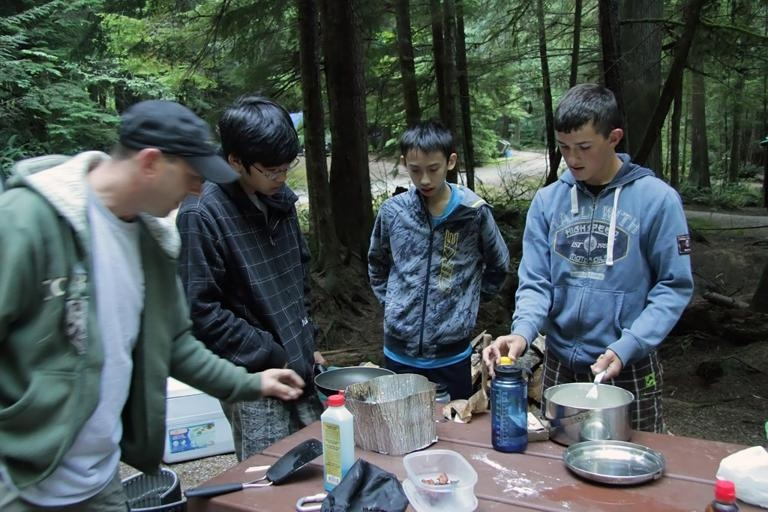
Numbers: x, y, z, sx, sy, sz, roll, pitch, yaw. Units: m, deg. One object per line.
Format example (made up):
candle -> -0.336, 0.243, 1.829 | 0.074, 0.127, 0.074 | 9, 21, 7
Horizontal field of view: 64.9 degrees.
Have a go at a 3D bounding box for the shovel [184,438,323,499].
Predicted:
shovel -> -0.643, 1.088, 3.051 | 0.672, 0.119, 0.175 | -9, 14, -21

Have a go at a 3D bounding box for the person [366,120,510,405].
person -> 0.371, 0.048, 4.543 | 0.947, 1.978, 1.085 | 0, -6, 4

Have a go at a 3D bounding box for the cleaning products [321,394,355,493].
cleaning products -> -0.211, 0.940, 3.030 | 0.180, 0.477, 0.168 | -1, 4, 37

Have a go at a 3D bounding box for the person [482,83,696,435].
person -> 1.266, 0.484, 3.725 | 1.081, 2.891, 1.153 | 1, 12, 21

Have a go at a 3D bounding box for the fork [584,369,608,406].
fork -> 1.136, 0.701, 3.239 | 0.060, 0.205, 0.029 | 21, -11, 19

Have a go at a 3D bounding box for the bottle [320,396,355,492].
bottle -> -0.223, 0.896, 3.020 | 0.149, 0.476, 0.204 | 1, 4, 39

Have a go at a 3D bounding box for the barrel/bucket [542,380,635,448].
barrel/bucket -> 1.073, 0.843, 3.183 | 0.518, 0.240, 0.333 | -6, 13, -41

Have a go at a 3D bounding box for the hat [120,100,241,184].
hat -> -0.994, -0.638, 2.985 | 0.509, 0.453, 0.354 | -1, 21, -4

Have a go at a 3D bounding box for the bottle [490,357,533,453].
bottle -> 0.645, 0.762, 3.184 | 0.198, 0.488, 0.267 | -1, -2, 11
